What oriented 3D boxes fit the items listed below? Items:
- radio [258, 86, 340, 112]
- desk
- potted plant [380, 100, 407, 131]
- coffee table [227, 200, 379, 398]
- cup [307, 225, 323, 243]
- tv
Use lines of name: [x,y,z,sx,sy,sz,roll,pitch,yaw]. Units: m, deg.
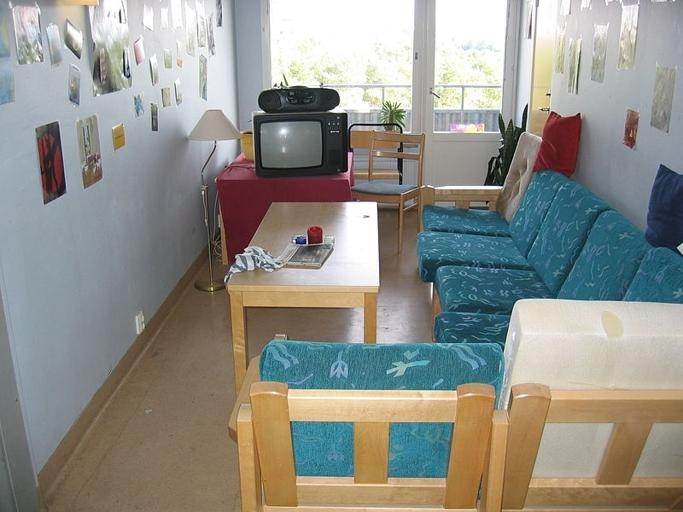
radio: [-0.340,-1.254,4.218,0.637,0.203,0.198,-4,21,-11]
desk: [-0.526,-0.423,4.454,0.790,0.537,0.809,-1,24,-1]
potted plant: [0.558,-1.531,5.693,0.377,0.415,0.388,-2,15,-2]
coffee table: [-0.061,0.313,3.109,0.714,0.729,1.463,2,14,10]
cup: [-0.141,-0.119,2.860,0.083,0.095,0.081,4,19,-1]
tv: [-0.300,-0.902,4.327,0.755,0.520,0.495,-2,12,-4]
